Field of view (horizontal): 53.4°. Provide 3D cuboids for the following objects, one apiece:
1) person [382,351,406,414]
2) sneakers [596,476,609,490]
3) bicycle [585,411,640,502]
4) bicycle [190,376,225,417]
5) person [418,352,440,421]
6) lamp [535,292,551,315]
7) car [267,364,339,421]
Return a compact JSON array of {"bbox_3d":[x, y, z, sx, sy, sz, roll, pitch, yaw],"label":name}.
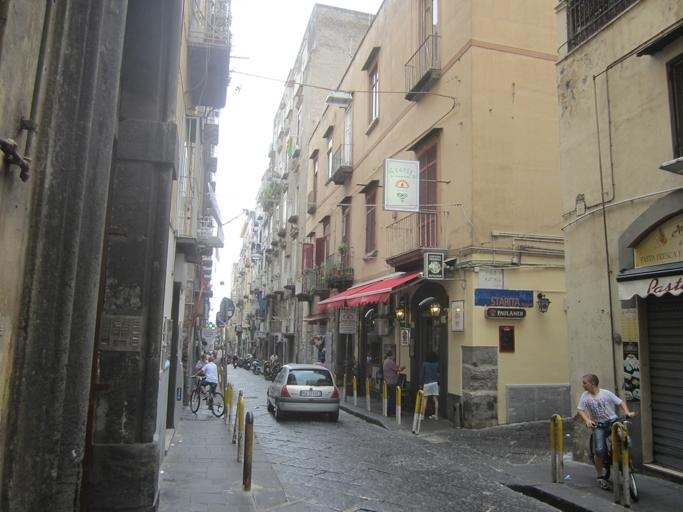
[{"bbox_3d":[1.368,3.308,17.885,0.487,1.643,1.711,0,-4,7],"label":"person"},{"bbox_3d":[3.908,3.389,10.095,0.071,0.104,0.210,-6,-22,-3],"label":"sneakers"},{"bbox_3d":[4.107,3.068,10.041,0.617,0.852,1.202,4,-19,-9],"label":"bicycle"},{"bbox_3d":[-3.576,3.822,18.482,0.739,1.095,1.528,1,-6,-39],"label":"bicycle"},{"bbox_3d":[2.143,3.135,16.277,0.381,1.632,1.322,0,-4,8],"label":"person"},{"bbox_3d":[4.884,1.129,16.273,0.397,0.515,0.198,3,-4,-30],"label":"lamp"},{"bbox_3d":[-1.084,3.443,17.042,1.341,1.311,2.063,4,-6,-43],"label":"car"}]
